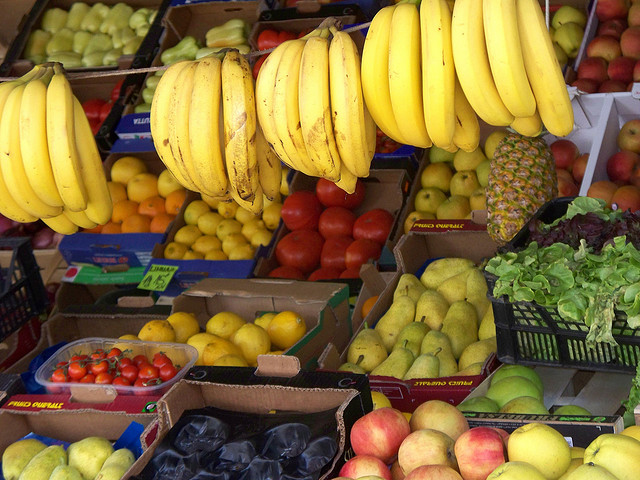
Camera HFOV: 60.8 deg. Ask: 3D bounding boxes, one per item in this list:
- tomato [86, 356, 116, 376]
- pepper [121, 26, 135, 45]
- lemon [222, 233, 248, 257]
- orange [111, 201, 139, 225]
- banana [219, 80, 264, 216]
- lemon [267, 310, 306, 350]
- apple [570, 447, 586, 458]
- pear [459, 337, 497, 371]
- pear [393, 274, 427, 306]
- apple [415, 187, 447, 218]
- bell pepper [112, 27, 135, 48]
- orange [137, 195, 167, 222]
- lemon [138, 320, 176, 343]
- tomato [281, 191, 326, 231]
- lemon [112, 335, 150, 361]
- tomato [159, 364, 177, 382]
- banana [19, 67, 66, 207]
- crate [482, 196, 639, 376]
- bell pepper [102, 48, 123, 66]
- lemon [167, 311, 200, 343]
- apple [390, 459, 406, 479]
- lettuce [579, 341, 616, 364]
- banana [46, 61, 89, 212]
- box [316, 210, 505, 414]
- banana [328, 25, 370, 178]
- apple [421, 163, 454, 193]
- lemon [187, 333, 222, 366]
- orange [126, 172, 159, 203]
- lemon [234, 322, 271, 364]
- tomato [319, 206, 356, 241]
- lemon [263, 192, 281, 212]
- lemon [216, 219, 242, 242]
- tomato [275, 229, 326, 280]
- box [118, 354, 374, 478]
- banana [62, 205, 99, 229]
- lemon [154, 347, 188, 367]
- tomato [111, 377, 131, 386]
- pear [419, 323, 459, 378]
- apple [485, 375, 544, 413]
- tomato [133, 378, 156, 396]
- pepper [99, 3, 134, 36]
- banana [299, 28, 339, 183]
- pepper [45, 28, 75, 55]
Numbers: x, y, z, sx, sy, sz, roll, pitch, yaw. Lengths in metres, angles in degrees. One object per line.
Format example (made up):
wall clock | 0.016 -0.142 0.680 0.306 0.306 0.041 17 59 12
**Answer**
tomato | -1.140 0.650 2.834 0.101 0.077 0.076 -24 -8 18
pepper | -2.216 -2.358 6.268 0.135 0.058 0.243 -3 44 -8
lemon | -0.689 0.031 4.494 0.174 0.179 0.222 5 58 -14
orange | -1.710 -0.231 4.771 0.149 0.156 0.158 2 60 -4
banana | -0.294 -0.339 2.180 0.107 0.496 0.153 -6 16 3
lemon | -0.200 0.536 3.189 0.223 0.202 0.136 -2 26 12
apple | 0.832 0.681 1.757 0.039 0.023 0.041 -13 3 22
pear | 0.776 0.561 2.673 0.244 0.113 0.098 -44 1 -42
pear | 0.545 0.272 3.259 0.162 0.157 0.223 29 32 -10
apple | 0.841 -0.305 4.097 0.155 0.179 0.156 35 45 27
bell pepper | -2.247 -2.317 6.333 0.212 0.167 0.303 1 49 9
orange | -1.513 -0.271 4.932 0.209 0.222 0.206 -9 -8 -11
lemon | -0.933 0.529 3.138 0.177 0.152 0.157 -11 68 -14
tomato | -0.153 -0.238 4.378 0.284 0.315 0.308 -3 2 -4
lemon | -1.055 0.596 3.085 0.123 0.161 0.129 0 4 -8
tomato | -0.775 0.675 2.791 0.077 0.082 0.076 -2 10 -5
banana | -1.166 -0.420 2.239 0.125 0.503 0.160 0 7 45
crate | 0.866 0.225 2.069 0.538 0.251 0.574 5 60 42
bell pepper | -2.300 -2.055 6.095 0.154 0.136 0.311 1 33 -1
lemon | -0.839 0.539 3.396 0.162 0.164 0.205 27 62 -12
apple | 0.263 0.785 1.858 0.054 0.070 0.057 -4 -1 -2
lettuce | 1.067 0.433 2.095 0.094 0.063 0.098 -19 12 33
banana | -1.043 -0.415 2.228 0.122 0.568 0.182 0 7 23
box | 0.535 0.340 3.102 0.669 0.316 1.326 -10 38 40
banana | 0.113 -0.472 1.957 0.115 0.525 0.169 -3 8 20
apple | 0.900 -0.487 4.238 0.213 0.274 0.231 13 11 23
lemon | -0.656 0.614 3.113 0.159 0.163 0.187 -4 -13 23
orange | -1.615 -0.491 5.001 0.250 0.266 0.258 16 -12 -5
lemon | -0.376 0.556 3.123 0.196 0.246 0.212 -1 9 -8
tomato | 0.134 -0.135 4.316 0.239 0.259 0.249 0 5 11
lemon | -0.409 -0.322 4.652 0.224 0.134 0.196 -4 8 3
lemon | -0.767 -0.098 4.538 0.171 0.177 0.185 2 40 25
tomato | -0.142 0.132 4.312 0.334 0.280 0.379 -14 37 3
box | -0.239 0.672 2.010 0.783 0.209 0.483 4 29 23
banana | -1.114 -0.093 2.552 0.157 0.056 0.083 21 -11 -28
lemon | -0.799 0.626 2.975 0.118 0.074 0.109 11 34 21
tomato | -1.006 0.716 2.769 0.054 0.056 0.057 -7 61 9
pear | 0.603 0.610 2.809 0.228 0.240 0.353 -5 64 14
apple | 0.811 0.622 2.249 0.146 0.150 0.183 16 64 6
tomato | -0.874 0.743 2.731 0.085 0.092 0.088 11 27 8
pepper | -2.392 -2.627 6.513 0.270 0.235 0.535 32 50 -14
banana | -0.006 -0.460 1.941 0.125 0.506 0.160 -6 3 23
pepper | -2.989 -2.300 6.378 0.198 0.204 0.413 9 45 33
